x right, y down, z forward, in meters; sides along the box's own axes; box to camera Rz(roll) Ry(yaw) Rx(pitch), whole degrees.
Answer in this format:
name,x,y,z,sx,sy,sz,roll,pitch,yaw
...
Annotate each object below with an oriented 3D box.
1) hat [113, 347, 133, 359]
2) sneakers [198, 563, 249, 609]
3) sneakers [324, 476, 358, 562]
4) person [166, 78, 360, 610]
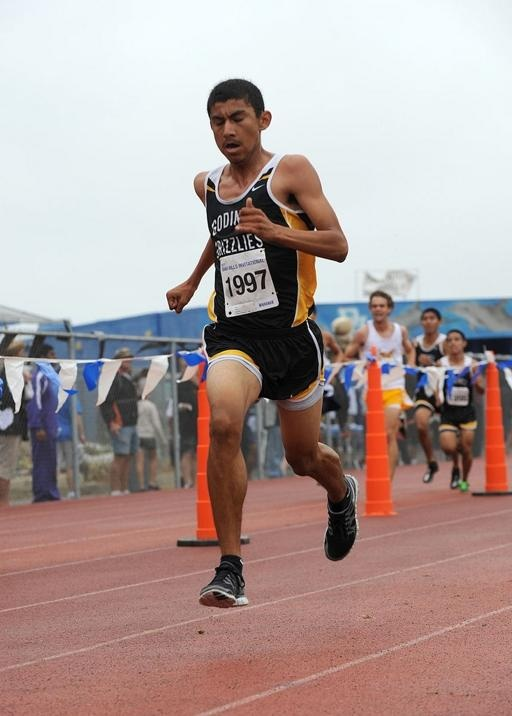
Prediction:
name,x,y,z,sx,sy,sz,roll,pitch,yaw
hat,-1.823,-0.062,10.667,0.196,0.084,0.271,-1,-3,2
sneakers,-0.102,0.743,2.466,0.134,0.168,0.256,-3,-2,8
sneakers,0.440,0.803,3.765,0.151,0.437,0.206,6,3,23
person,0.081,-0.155,2.926,0.566,1.298,0.924,-3,-2,-2
